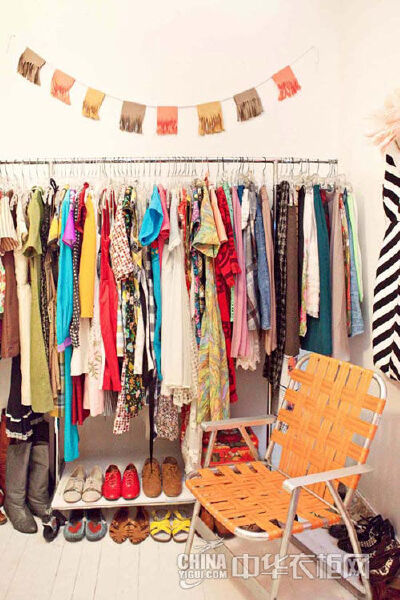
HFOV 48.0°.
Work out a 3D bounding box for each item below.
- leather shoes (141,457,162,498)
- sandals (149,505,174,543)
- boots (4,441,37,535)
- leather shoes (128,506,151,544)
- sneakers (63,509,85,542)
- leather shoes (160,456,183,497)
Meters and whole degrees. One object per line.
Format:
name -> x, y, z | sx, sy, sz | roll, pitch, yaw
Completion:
leather shoes -> -0.227, 0.833, 2.094 | 0.087, 0.118, 0.284 | -1, -2, -5
sandals -> -0.172, 0.999, 1.995 | 0.071, 0.069, 0.242 | 0, -5, -2
boots -> -0.830, 0.853, 2.059 | 0.128, 0.297, 0.318 | -4, 9, -26
leather shoes -> -0.268, 1.001, 1.988 | 0.071, 0.066, 0.230 | -2, 8, -4
sneakers -> -0.552, 0.996, 1.979 | 0.087, 0.043, 0.166 | -3, 9, -17
leather shoes -> -0.134, 0.829, 2.098 | 0.081, 0.103, 0.268 | -1, -5, -4
